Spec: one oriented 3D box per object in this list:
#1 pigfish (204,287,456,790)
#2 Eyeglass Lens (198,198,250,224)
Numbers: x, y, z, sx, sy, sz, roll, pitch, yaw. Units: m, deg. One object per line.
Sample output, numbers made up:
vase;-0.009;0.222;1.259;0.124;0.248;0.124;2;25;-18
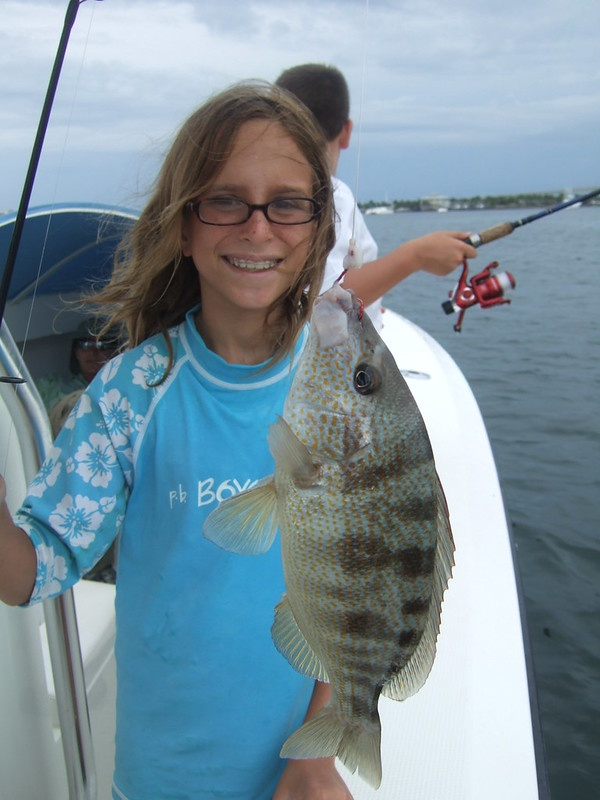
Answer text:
pigfish;0.057;0.287;1.575;0.556;0.995;0.360;-8;9;-13
Eyeglass Lens;-0.158;-0.380;1.498;0.127;0.050;0.039;13;38;18
